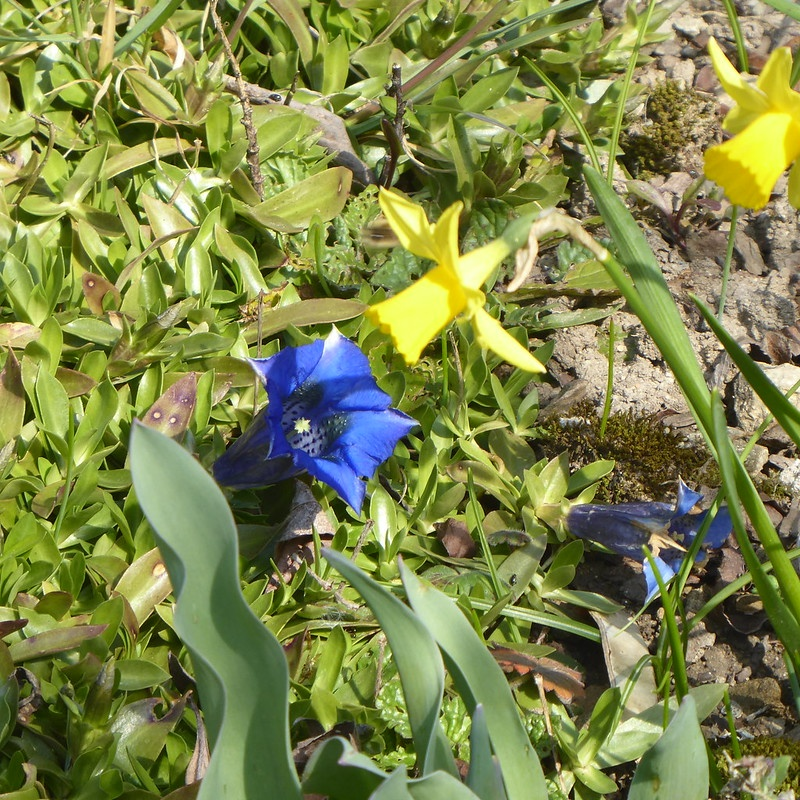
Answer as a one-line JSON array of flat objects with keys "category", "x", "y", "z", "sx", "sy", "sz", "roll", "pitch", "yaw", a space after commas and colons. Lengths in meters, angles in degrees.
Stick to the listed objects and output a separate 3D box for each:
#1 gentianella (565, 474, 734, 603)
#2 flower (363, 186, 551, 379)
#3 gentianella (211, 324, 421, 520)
[{"category": "gentianella", "x": 0.464, "y": 0.260, "z": 1.775, "sx": 0.354, "sy": 0.221, "sz": 0.109, "roll": 19, "pitch": -35, "yaw": 53}, {"category": "flower", "x": 0.062, "y": -0.131, "z": 1.075, "sx": 0.175, "sy": 0.169, "sz": 0.240, "roll": -3, "pitch": -61, "yaw": -6}, {"category": "gentianella", "x": -0.143, "y": 0.066, "z": 1.605, "sx": 0.310, "sy": 0.309, "sz": 0.212, "roll": -2, "pitch": -35, "yaw": -44}]
